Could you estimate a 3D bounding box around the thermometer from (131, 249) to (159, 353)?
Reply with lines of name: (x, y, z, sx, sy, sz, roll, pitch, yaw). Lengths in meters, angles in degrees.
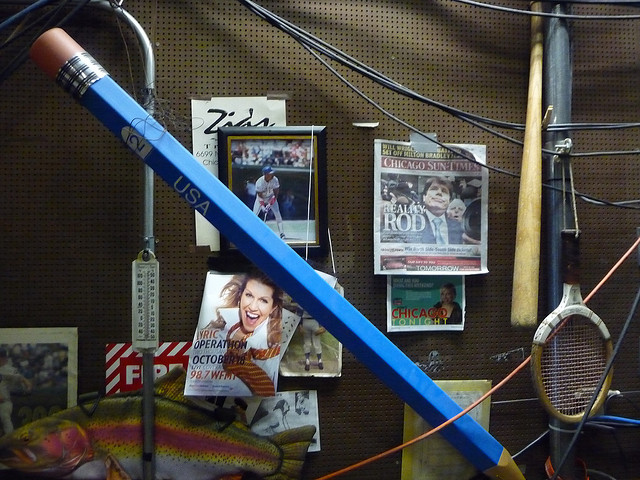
thermometer: (-0.516, 0.199, 2.466, 0.076, 0.365, 0.123, -1, -1, 6)

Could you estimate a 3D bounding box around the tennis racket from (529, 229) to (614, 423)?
tennis racket: (0.706, 0.255, 2.426, 0.253, 0.533, 0.168, -9, 13, -26)
